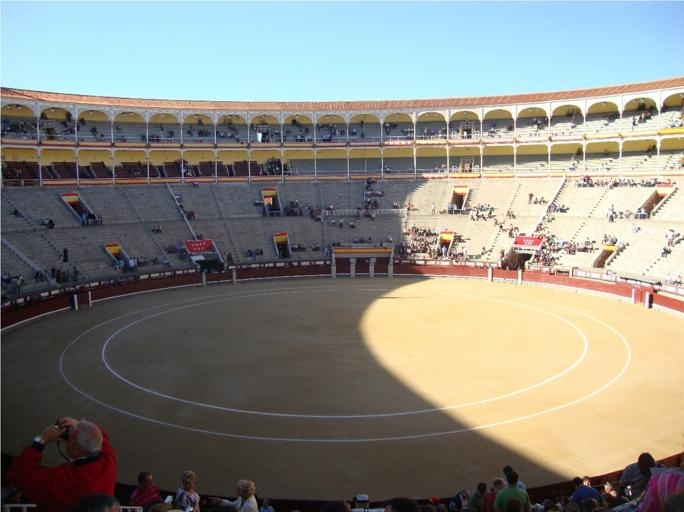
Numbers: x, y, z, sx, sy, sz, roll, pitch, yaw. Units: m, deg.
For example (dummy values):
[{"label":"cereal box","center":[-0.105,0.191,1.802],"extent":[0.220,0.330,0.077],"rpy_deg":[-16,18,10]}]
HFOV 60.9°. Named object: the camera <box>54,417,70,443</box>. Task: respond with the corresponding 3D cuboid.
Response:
[{"label":"camera","center":[-5.806,3.673,12.295],"extent":[0.432,0.445,0.172],"rpy_deg":[-5,-4,28]}]
